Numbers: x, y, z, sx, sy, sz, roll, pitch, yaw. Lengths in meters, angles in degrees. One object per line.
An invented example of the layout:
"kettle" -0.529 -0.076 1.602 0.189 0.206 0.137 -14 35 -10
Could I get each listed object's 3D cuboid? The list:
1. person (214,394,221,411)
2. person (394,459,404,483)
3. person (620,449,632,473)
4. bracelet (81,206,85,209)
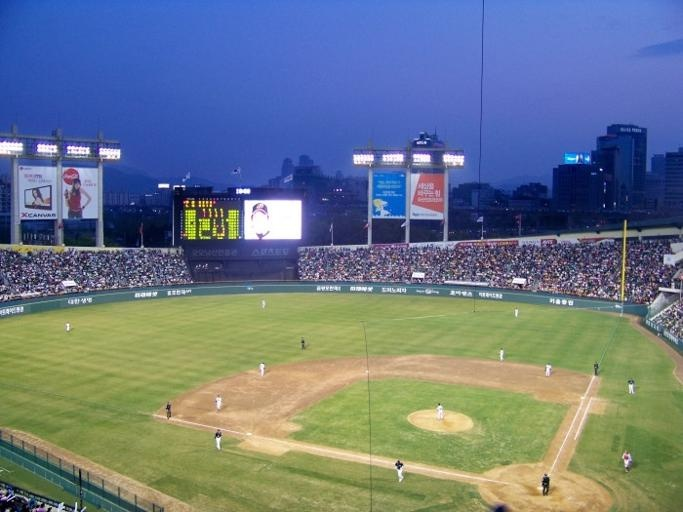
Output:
"person" -8.929 10.404 60.432 0.438 1.261 0.552 -6 25 -11
"person" 3.648 12.983 52.329 0.509 1.212 1.365 1 15 3
"person" 18.257 12.730 53.385 0.671 0.982 1.544 5 16 18
"bracelet" -31.076 -6.017 100.836 0.576 0.169 0.146 -10 -25 23
